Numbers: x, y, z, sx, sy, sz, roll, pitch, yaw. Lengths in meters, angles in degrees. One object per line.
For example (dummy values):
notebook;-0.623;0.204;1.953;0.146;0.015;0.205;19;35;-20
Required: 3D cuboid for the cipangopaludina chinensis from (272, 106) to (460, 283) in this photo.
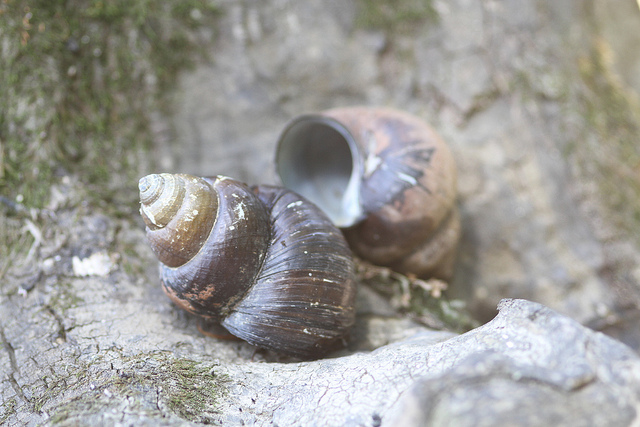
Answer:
cipangopaludina chinensis;0.318;-0.200;4.421;0.982;0.793;1.102;9;40;36
